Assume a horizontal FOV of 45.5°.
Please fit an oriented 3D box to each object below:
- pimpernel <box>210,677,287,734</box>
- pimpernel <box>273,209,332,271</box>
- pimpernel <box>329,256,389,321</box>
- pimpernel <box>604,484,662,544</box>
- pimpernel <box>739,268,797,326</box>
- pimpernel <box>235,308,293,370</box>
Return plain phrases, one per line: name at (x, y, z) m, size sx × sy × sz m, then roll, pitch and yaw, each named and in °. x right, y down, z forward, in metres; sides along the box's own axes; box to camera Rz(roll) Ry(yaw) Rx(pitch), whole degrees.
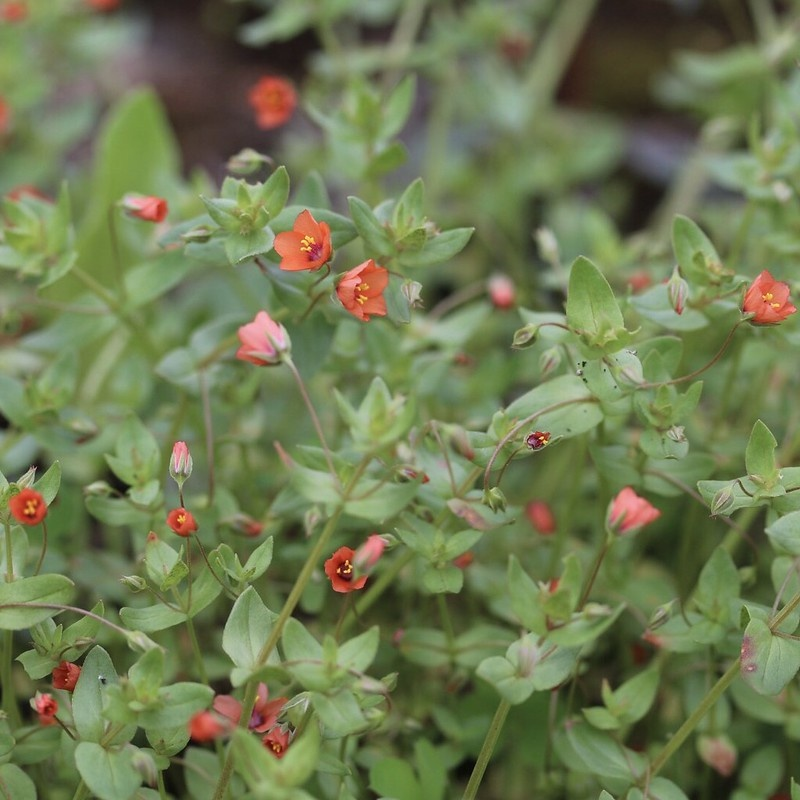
pimpernel at (-0.136, 0.286, 0.872) m, size 0.066 × 0.074 × 0.041 m, roll -1°, pitch 103°, yaw 11°
pimpernel at (-0.089, -0.148, 0.867) m, size 0.047 × 0.031 × 0.057 m, roll -6°, pitch 101°, yaw 12°
pimpernel at (-0.032, -0.100, 0.869) m, size 0.032 × 0.046 × 0.058 m, roll 13°, pitch 90°, yaw 43°
pimpernel at (0.207, 0.111, 0.875) m, size 0.043 × 0.043 × 0.045 m, roll 32°, pitch 74°, yaw 3°
pimpernel at (0.340, -0.085, 0.900) m, size 0.041 × 0.045 × 0.053 m, roll -28°, pitch 62°, yaw 28°
pimpernel at (-0.115, -0.055, 0.859) m, size 0.047 × 0.029 × 0.048 m, roll -13°, pitch 95°, yaw 13°
